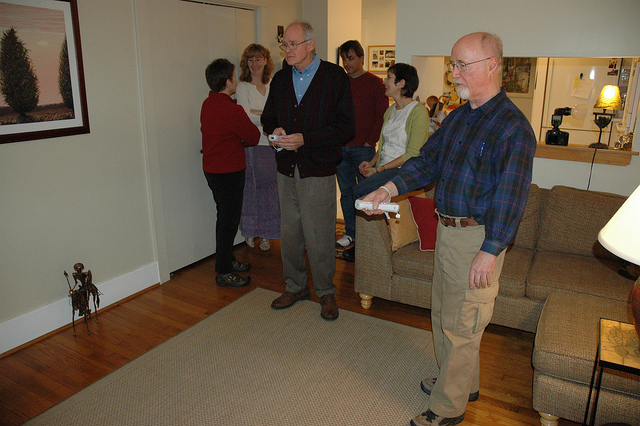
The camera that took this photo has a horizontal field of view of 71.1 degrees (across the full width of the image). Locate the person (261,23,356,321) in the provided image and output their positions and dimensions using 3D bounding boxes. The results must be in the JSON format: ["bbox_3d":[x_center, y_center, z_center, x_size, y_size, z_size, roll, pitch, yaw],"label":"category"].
[{"bbox_3d":[-0.114,-0.303,3.716,0.754,2.351,0.606,3,21,8],"label":"person"}]

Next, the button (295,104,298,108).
[{"bbox_3d":[-0.188,-0.859,3.610,0.034,0.035,0.008,-2,2,3],"label":"button"}]

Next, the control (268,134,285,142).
[{"bbox_3d":[-0.341,-0.582,3.473,0.133,0.054,0.058,4,21,8],"label":"control"}]

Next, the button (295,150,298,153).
[{"bbox_3d":[-0.186,-0.492,3.583,0.022,0.020,0.005,5,21,13],"label":"button"}]

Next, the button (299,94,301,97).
[{"bbox_3d":[-0.160,-0.949,3.631,0.018,0.019,0.004,1,2,15],"label":"button"}]

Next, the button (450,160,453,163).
[{"bbox_3d":[0.807,-0.316,2.745,0.013,0.004,0.012,-13,25,4],"label":"button"}]

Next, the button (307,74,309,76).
[{"bbox_3d":[-0.093,-1.109,3.603,0.017,0.017,0.004,21,0,-28],"label":"button"}]

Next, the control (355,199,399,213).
[{"bbox_3d":[0.367,-0.045,2.880,0.303,0.094,0.070,3,22,6],"label":"control"}]

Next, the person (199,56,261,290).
[{"bbox_3d":[-0.819,-0.340,4.228,0.531,2.064,0.565,-5,21,-13],"label":"person"}]

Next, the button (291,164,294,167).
[{"bbox_3d":[-0.216,-0.382,3.615,0.024,0.024,0.024,1,-1,-35],"label":"button"}]

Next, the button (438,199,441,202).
[{"bbox_3d":[0.746,-0.081,2.791,0.015,0.015,0.004,-5,-3,-13],"label":"button"}]

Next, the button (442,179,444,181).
[{"bbox_3d":[0.766,-0.205,2.787,0.010,0.010,0.010,20,39,40],"label":"button"}]

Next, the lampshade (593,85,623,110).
[{"bbox_3d":[3.101,-1.218,4.835,0.259,0.212,0.284,0,8,0],"label":"lampshade"}]
